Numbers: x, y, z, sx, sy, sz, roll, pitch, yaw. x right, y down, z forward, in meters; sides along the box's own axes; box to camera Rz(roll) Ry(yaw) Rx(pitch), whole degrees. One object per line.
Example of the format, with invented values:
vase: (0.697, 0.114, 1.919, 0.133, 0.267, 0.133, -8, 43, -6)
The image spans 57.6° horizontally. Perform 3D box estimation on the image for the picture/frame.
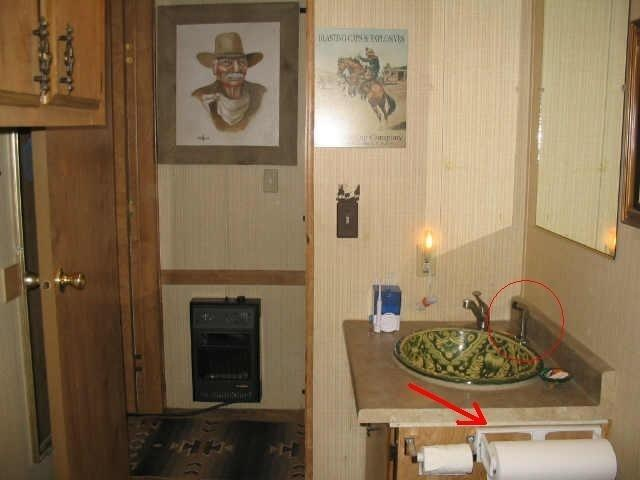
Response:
picture/frame: (-0.590, -1.077, 3.787, 0.861, 1.077, 0.046, 0, 5, 0)

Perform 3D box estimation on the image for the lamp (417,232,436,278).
lamp: (0.522, 0.068, 2.857, 0.081, 0.226, 0.045, -1, 2, 11)

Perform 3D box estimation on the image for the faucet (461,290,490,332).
faucet: (0.722, 0.330, 2.758, 0.167, 0.194, 0.125, 9, -1, -29)

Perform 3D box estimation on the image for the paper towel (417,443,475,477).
paper towel: (0.476, 0.839, 2.200, 0.214, 0.142, 0.107, -1, 2, 7)
